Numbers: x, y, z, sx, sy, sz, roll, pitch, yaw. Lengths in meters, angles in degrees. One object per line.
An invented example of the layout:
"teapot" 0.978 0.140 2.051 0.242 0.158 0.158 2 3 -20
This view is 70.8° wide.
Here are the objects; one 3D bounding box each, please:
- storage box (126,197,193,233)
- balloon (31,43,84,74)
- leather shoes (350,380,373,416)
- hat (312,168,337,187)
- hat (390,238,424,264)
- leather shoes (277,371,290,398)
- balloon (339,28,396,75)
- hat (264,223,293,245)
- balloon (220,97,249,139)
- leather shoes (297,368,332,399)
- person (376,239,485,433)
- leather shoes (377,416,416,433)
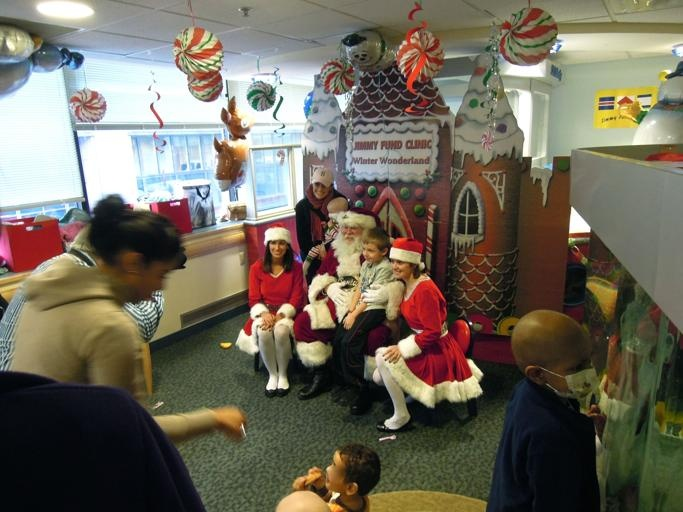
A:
"storage box" -1.061 -0.252 2.847 0.207 0.274 0.393 2 12 25
"balloon" -2.045 -1.419 3.482 0.148 0.150 0.328 23 25 14
"leather shoes" 0.143 0.960 3.442 0.164 0.153 0.364 -2 17 2
"hat" -0.150 -0.659 4.096 0.173 0.129 0.282 13 5 1
"hat" 0.432 -0.042 3.192 0.174 0.144 0.170 6 8 29
"leather shoes" -0.436 0.952 3.586 0.086 0.118 0.144 -3 16 -4
"balloon" 0.212 -1.516 3.623 0.343 0.282 0.316 -5 16 -7
"hat" -0.492 -0.165 3.729 0.149 0.118 0.152 1 3 -3
"balloon" -0.961 -1.223 4.336 0.211 0.375 0.284 0 16 8
"leather shoes" -0.253 0.940 3.600 0.323 0.231 0.123 1 2 -37
"person" 0.582 0.512 3.308 0.799 1.229 0.713 -5 4 -23
"leather shoes" 0.358 1.084 3.157 0.211 0.086 0.098 2 5 1
